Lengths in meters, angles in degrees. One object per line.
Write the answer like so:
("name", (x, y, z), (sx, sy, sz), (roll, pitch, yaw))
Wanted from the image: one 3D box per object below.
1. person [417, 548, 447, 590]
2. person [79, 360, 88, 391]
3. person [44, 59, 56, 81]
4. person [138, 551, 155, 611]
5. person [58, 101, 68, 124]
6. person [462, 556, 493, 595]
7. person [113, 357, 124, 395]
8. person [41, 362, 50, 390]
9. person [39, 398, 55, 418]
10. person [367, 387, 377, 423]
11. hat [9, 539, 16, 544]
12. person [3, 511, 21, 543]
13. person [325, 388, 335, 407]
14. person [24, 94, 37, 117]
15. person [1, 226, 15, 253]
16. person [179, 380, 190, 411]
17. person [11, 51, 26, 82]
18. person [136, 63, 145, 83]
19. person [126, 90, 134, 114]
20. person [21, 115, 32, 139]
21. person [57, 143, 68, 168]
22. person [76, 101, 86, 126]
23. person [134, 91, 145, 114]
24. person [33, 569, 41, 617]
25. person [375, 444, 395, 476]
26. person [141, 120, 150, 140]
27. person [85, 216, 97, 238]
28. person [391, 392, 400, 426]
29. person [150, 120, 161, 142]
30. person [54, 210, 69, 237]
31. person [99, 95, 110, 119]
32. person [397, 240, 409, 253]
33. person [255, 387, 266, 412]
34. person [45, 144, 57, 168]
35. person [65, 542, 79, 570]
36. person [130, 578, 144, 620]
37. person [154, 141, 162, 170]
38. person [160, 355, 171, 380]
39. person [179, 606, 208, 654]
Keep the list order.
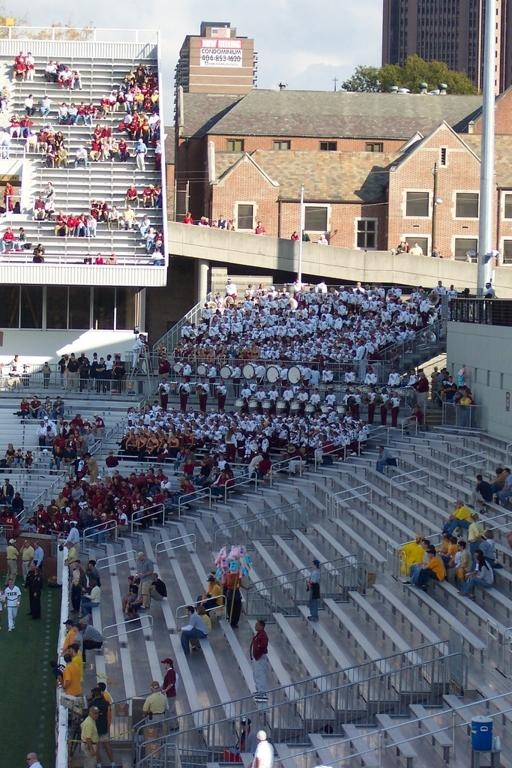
("person", (3.294, 3.492, 21.365), (0.255, 0.826, 0.605), (-3, 3, -38))
("person", (-6.148, -0.305, 41.003), (0.357, 1.148, 1.035), (-1, 2, -9))
("person", (-9.224, -14.103, 51.495), (0.478, 0.910, 0.381), (-2, 2, -25))
("person", (-2.473, 4.394, 25.583), (0.369, 1.205, 0.375), (-2, 3, -5))
("person", (-8.369, -11.761, 49.698), (0.426, 0.903, 0.492), (-2, 2, -10))
("person", (3.950, 3.372, 20.329), (0.520, 0.798, 0.410), (-1, 2, 15))
("person", (-4.852, -0.265, 40.491), (0.405, 1.223, 0.861), (-1, 2, -7))
("person", (-7.641, -0.266, 41.644), (0.310, 0.893, 0.570), (-2, 2, -11))
("person", (-7.066, 0.856, 38.586), (0.328, 0.531, 0.904), (1, 25, 9))
("person", (3.517, 0.732, 34.602), (0.303, 0.941, 1.218), (-1, 3, 6))
("hat", (-6.251, 4.073, 29.310), (0.110, 0.033, 0.111), (-20, 28, -33))
("person", (-6.571, 3.858, 30.635), (0.487, 0.626, 1.560), (-2, 3, -12))
("person", (2.301, 0.454, 35.337), (0.329, 0.522, 1.057), (-1, 3, 4))
("person", (-9.898, -12.219, 49.996), (0.486, 1.013, 0.976), (-2, 3, -12))
("person", (-9.529, -5.470, 43.934), (0.486, 0.886, 0.707), (-2, 2, -13))
("person", (-2.358, 0.421, 37.839), (0.360, 1.021, 0.960), (-1, 3, -3))
("person", (-10.688, -14.317, 51.571), (0.670, 1.233, 0.534), (-1, 2, -5))
("person", (-5.257, -14.194, 52.218), (0.449, 0.984, 0.854), (-1, 2, -6))
("person", (-5.569, -12.580, 50.913), (0.363, 0.921, 0.386), (1, -25, -5))
("person", (-9.787, -10.869, 48.548), (0.438, 0.965, 0.569), (-2, 2, -8))
("person", (-8.137, -9.644, 47.985), (0.455, 1.032, 0.748), (-1, 2, -2))
("person", (-7.616, -11.781, 49.916), (0.418, 0.907, 0.562), (-1, 2, -6))
("person", (-5.214, -12.643, 50.935), (0.413, 1.082, 0.794), (-1, 2, -6))
("person", (-5.025, 4.854, 26.164), (0.236, 1.155, 0.529), (-2, 2, -12))
("person", (3.410, 2.067, 30.250), (0.632, 0.948, 0.417), (1, -4, 1))
("person", (-4.810, -11.039, 49.713), (0.309, 1.063, 0.357), (-1, 2, 5))
("person", (-6.497, -6.213, 45.240), (0.425, 0.790, 0.308), (0, -2, -10))
("person", (4.057, 0.759, 33.328), (0.265, 0.940, 0.657), (-1, 2, 6))
("person", (-4.380, -11.031, 49.700), (0.435, 1.078, 0.694), (-1, 2, -6))
("person", (-7.654, -6.255, 45.013), (0.486, 0.900, 0.503), (-2, 2, -11))
("person", (-6.621, -12.237, 50.361), (0.463, 0.872, 0.395), (-2, 2, -19))
("person", (6.339, -5.866, 49.484), (0.444, 0.526, 1.923), (-1, 3, 7))
("person", (0.160, 0.585, 36.233), (0.320, 0.649, 0.865), (-1, 3, 0))
("person", (-8.565, -9.533, 47.794), (0.382, 0.926, 0.400), (-2, 2, -9))
("person", (-4.434, 4.180, 27.397), (0.202, 0.727, 0.288), (8, 37, -3))
("person", (-2.598, 4.695, 24.640), (0.272, 0.609, 0.923), (-1, 3, -2))
("person", (-4.186, -9.820, 48.919), (0.299, 1.349, 0.921), (-1, 2, -5))
("person", (-3.121, -0.537, 38.975), (0.366, 0.826, 0.888), (-1, 3, -5))
("person", (-1.225, 4.724, 22.011), (0.528, 0.907, 0.393), (2, 10, -5))
